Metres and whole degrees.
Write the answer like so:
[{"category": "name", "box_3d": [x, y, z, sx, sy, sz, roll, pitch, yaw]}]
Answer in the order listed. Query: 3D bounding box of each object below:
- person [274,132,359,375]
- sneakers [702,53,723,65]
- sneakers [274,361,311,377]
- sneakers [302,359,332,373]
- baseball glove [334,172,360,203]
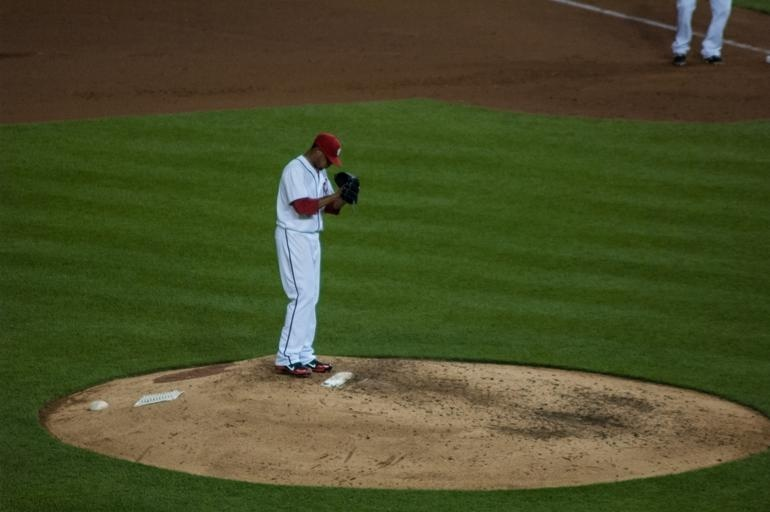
[{"category": "person", "box_3d": [-1.111, -0.013, 20.480, 0.968, 3.401, 1.119, 11, 20, 33]}, {"category": "sneakers", "box_3d": [6.045, -3.637, 26.459, 0.377, 0.145, 0.132, 7, 26, 26]}, {"category": "sneakers", "box_3d": [-1.297, 1.646, 20.478, 0.534, 0.203, 0.183, 1, 6, 16]}, {"category": "sneakers", "box_3d": [-0.965, 1.613, 20.600, 0.455, 0.168, 0.159, 0, 3, 2]}, {"category": "baseball glove", "box_3d": [-0.548, -0.927, 20.534, 0.280, 0.489, 0.552, -2, 15, -8]}]
